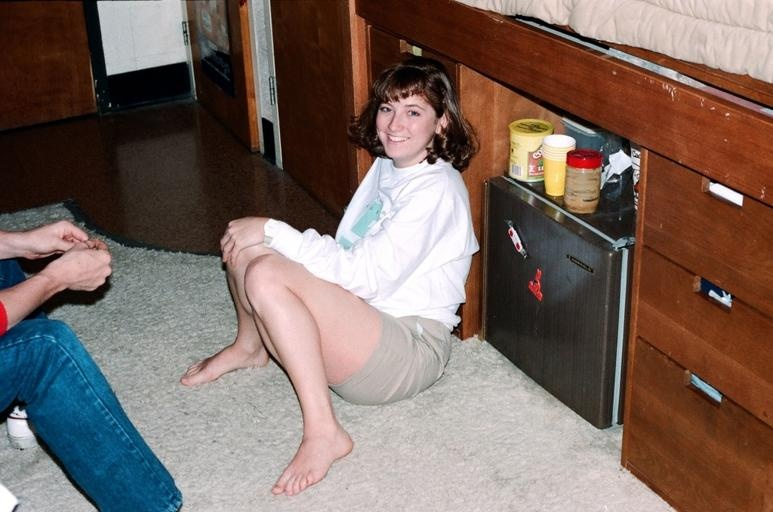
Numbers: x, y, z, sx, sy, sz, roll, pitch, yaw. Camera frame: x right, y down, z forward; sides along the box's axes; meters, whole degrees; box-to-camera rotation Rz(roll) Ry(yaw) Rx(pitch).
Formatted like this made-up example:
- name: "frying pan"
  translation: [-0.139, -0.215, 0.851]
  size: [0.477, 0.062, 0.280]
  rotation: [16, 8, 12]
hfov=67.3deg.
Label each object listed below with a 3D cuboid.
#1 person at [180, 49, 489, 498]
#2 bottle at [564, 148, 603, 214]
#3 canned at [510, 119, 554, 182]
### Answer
- name: "person"
  translation: [-0.110, -0.046, 1.934]
  size: [0.844, 1.137, 0.807]
  rotation: [-11, 26, -34]
- name: "bottle"
  translation: [0.612, -0.214, 1.824]
  size: [0.113, 0.164, 0.111]
  rotation: [-2, 13, 1]
- name: "canned"
  translation: [0.489, -0.344, 1.958]
  size: [0.147, 0.161, 0.143]
  rotation: [1, 24, 3]
